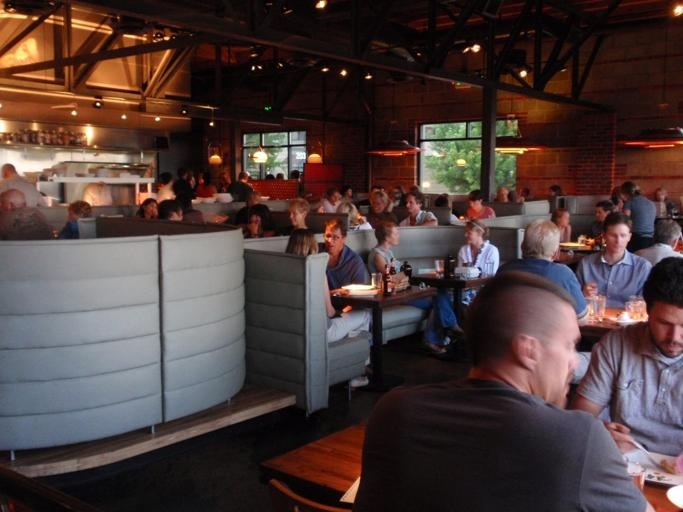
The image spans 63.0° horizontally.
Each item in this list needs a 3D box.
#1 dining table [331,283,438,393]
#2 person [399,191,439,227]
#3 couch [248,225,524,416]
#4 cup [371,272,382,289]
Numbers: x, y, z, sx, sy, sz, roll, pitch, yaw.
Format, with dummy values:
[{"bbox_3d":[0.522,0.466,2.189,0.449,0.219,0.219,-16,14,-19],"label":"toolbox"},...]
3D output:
[{"bbox_3d":[0.354,0.704,4.872,0.919,0.786,0.923,2,3,42],"label":"dining table"},{"bbox_3d":[1.068,-0.661,7.865,0.374,0.507,0.790,-6,7,-36],"label":"person"},{"bbox_3d":[0.202,0.467,4.121,0.625,0.558,1.713,5,10,32],"label":"couch"},{"bbox_3d":[0.318,0.226,5.130,0.137,0.181,0.132,-1,-3,0],"label":"cup"}]
